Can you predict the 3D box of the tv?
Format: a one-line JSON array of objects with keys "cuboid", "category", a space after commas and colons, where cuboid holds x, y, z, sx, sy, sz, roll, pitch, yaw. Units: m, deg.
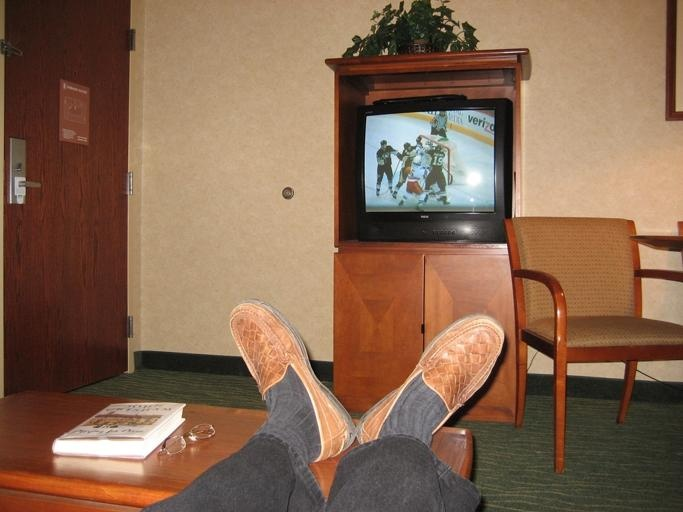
[{"cuboid": [0.471, -0.425, 2.748, 0.651, 0.613, 0.241, 4, 3, 12], "category": "tv"}]
